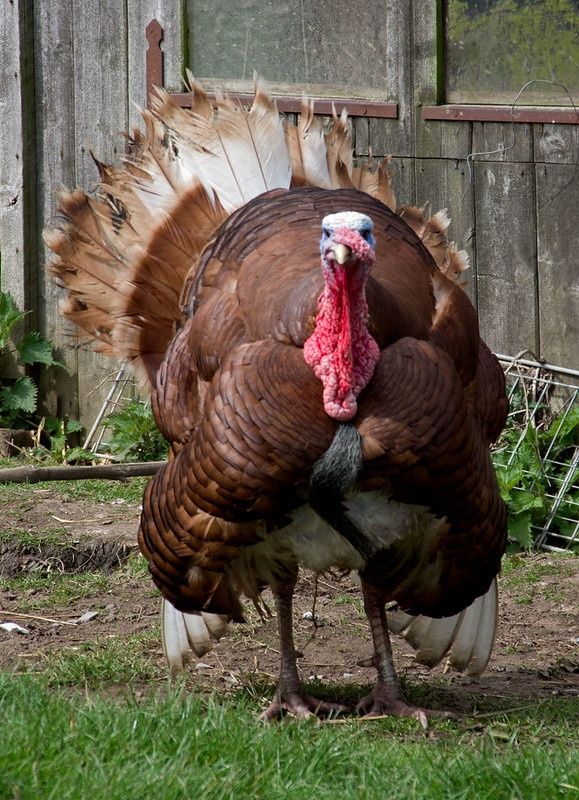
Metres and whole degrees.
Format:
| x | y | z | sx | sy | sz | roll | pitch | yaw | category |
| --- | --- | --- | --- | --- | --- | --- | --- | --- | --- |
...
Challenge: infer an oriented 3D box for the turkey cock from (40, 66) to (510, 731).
| x | y | z | sx | sy | sz | roll | pitch | yaw | category |
| --- | --- | --- | --- | --- | --- | --- | --- | --- | --- |
| 0.054 | -0.078 | 4.013 | 1.201 | 2.368 | 1.755 | 1 | 3 | -18 | turkey cock |
